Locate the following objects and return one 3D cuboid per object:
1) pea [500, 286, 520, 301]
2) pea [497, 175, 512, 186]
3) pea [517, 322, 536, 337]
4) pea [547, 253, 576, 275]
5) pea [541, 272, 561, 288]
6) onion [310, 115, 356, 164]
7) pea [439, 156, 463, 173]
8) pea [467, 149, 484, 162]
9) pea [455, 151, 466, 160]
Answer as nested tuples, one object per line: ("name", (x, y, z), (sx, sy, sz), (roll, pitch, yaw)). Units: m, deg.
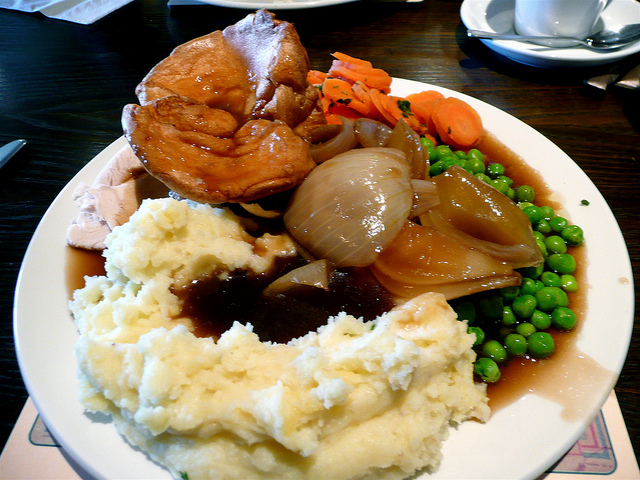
("pea", (1.332, 0.368, 4.224), (0.162, 0.046, 0.104), (-19, 61, -4))
("pea", (1.456, -0.464, 4.789), (0.138, 0.042, 0.092), (4, 23, -8))
("pea", (1.419, 0.617, 4.165), (0.140, 0.050, 0.088), (-13, 47, -2))
("pea", (1.734, 0.166, 4.274), (0.237, 0.158, 0.109), (12, 87, 34))
("pea", (1.640, 0.280, 4.301), (0.129, 0.054, 0.104), (-5, 35, 0))
("onion", (0.117, -0.730, 4.450), (0.440, 0.110, 0.353), (-29, 51, -11))
("pea", (1.033, -0.597, 4.823), (0.225, 0.093, 0.123), (-7, 86, -19))
("pea", (1.254, -0.685, 4.939), (0.148, 0.057, 0.118), (-8, 39, -20))
("pea", (1.153, -0.693, 4.963), (0.108, 0.067, 0.053), (23, 88, -2))
